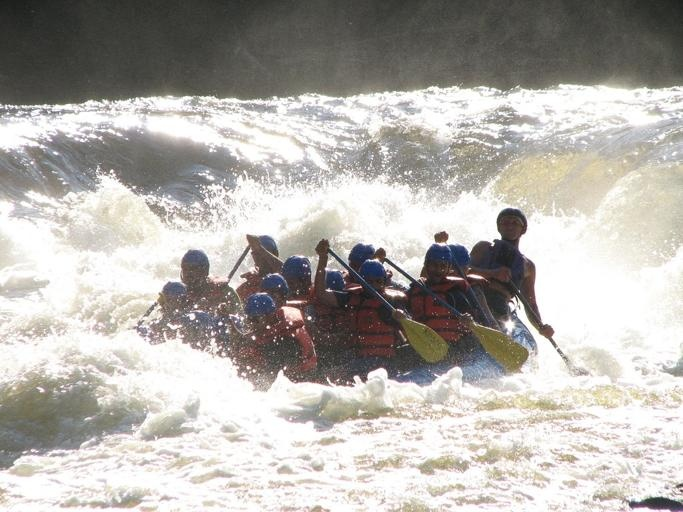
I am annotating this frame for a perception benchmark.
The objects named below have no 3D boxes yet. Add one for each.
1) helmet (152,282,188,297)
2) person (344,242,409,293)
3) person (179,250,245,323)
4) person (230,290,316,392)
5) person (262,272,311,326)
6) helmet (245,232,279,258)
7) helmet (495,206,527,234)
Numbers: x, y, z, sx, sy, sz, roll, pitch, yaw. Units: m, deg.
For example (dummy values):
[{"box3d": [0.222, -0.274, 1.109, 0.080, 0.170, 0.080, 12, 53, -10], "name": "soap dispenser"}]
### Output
[{"box3d": [-2.597, 0.516, 13.535, 0.251, 0.206, 0.281, -2, 0, 4], "name": "helmet"}, {"box3d": [0.457, 0.236, 13.625, 0.600, 0.983, 0.460, -17, -6, -10], "name": "person"}, {"box3d": [-2.144, 0.419, 13.652, 0.728, 1.076, 0.459, -26, 8, -9], "name": "person"}, {"box3d": [-0.988, 1.170, 12.178, 1.091, 0.993, 0.799, -6, 37, -9], "name": "person"}, {"box3d": [-0.795, 0.559, 12.831, 1.043, 0.520, 0.632, 5, 8, 26], "name": "person"}, {"box3d": [-1.235, -0.215, 14.519, 0.384, 0.285, 0.382, -5, 41, -20], "name": "helmet"}, {"box3d": [2.713, -0.560, 13.870, 0.418, 0.415, 0.318, 24, 82, 5], "name": "helmet"}]
